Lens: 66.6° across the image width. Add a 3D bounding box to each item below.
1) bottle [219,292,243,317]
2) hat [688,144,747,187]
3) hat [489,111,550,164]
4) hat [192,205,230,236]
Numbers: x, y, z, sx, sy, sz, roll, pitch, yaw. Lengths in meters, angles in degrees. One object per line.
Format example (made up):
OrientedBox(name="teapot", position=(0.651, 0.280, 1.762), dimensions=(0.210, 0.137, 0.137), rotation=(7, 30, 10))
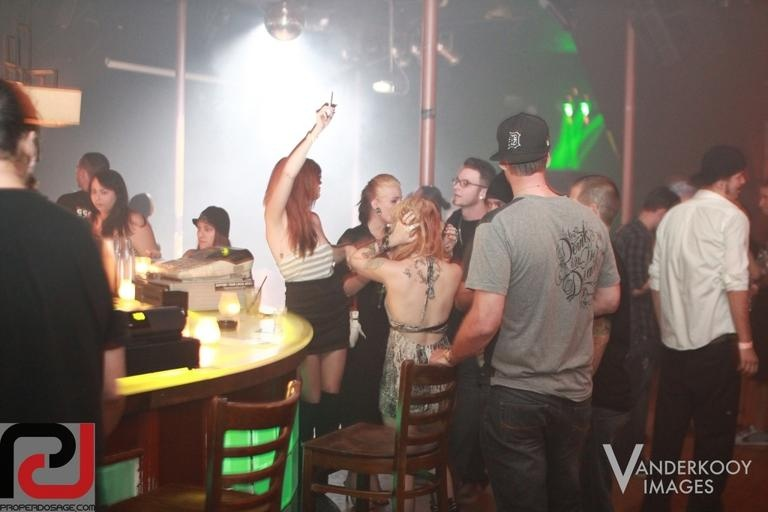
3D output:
OrientedBox(name="bottle", position=(-0.940, 0.301, 3.664), dimensions=(0.147, 0.170, 0.146), rotation=(-1, -6, 3))
OrientedBox(name="hat", position=(2.269, -0.610, 4.004), dimensions=(0.344, 0.254, 0.257), rotation=(-7, 16, 18))
OrientedBox(name="hat", position=(0.712, -0.627, 3.096), dimensions=(0.240, 0.185, 0.322), rotation=(5, 16, 31))
OrientedBox(name="hat", position=(-1.499, -0.318, 5.179), dimensions=(0.311, 0.191, 0.227), rotation=(21, 0, -29))
